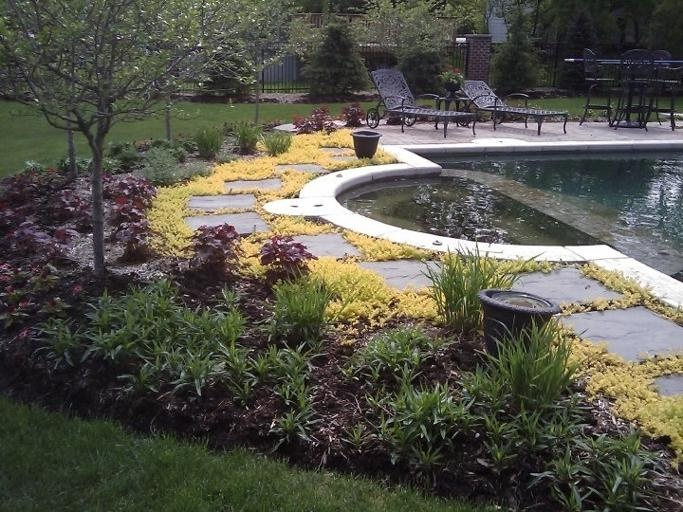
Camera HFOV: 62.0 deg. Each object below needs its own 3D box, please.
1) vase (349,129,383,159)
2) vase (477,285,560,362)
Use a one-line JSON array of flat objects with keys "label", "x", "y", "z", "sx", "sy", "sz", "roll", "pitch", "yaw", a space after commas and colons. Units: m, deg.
[{"label": "vase", "x": 0.417, "y": -1.933, "z": 9.790, "sx": 0.569, "sy": 0.354, "sz": 0.510, "roll": 0, "pitch": 12, "yaw": -1}, {"label": "vase", "x": 1.180, "y": 0.461, "z": 4.005, "sx": 0.538, "sy": 0.314, "sz": 0.491, "roll": 0, "pitch": 11, "yaw": -17}]
